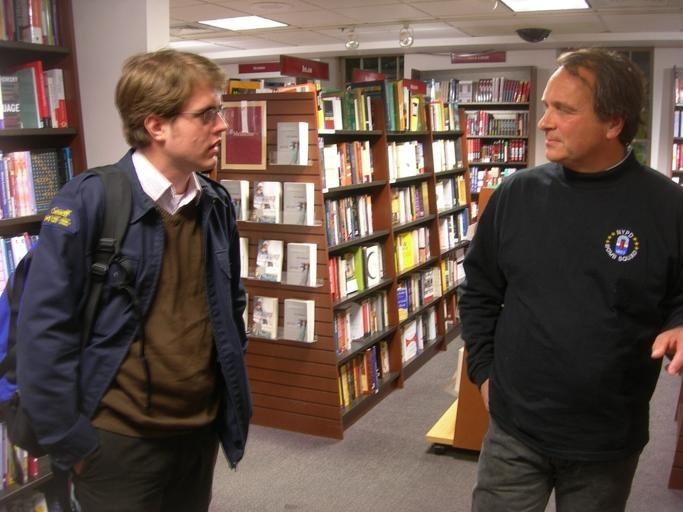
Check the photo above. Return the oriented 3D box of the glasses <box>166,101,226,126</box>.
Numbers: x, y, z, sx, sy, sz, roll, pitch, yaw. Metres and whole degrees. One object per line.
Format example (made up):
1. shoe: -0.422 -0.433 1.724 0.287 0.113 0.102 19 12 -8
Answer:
1. glasses: -0.481 -0.473 1.853 0.107 0.032 0.101 -2 6 13
